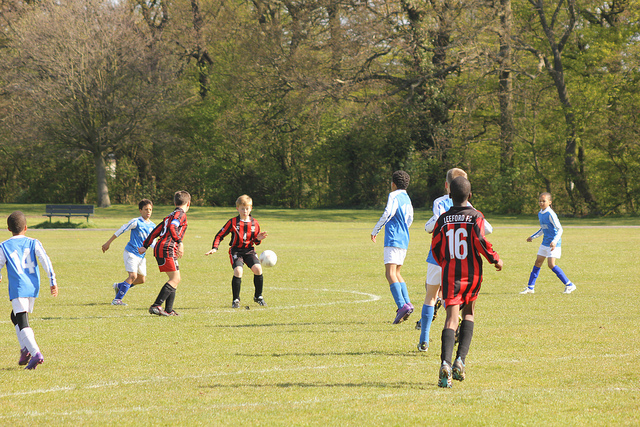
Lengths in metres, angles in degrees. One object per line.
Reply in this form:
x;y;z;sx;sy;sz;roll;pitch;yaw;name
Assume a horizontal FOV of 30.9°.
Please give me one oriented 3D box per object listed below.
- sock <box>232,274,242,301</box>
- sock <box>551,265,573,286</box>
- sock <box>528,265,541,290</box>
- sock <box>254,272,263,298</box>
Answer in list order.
-3.401;2.975;46.808;0.302;1.041;0.324;0;0;-5;sock
10.270;2.659;49.427;0.364;0.899;0.245;-33;-18;-26;sock
8.894;2.654;48.441;0.437;0.954;0.541;0;0;9;sock
-2.529;2.905;47.013;0.304;0.940;0.495;0;0;-4;sock
